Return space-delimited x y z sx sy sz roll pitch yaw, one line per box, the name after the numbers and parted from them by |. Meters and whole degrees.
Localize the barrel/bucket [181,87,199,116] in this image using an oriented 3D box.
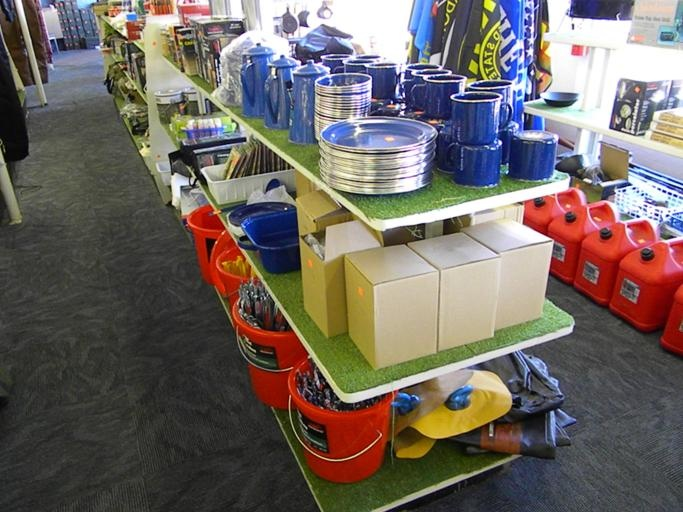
-1.394 -1.459 4.744 0.248 0.254 0.234 3 30 -2 | barrel/bucket

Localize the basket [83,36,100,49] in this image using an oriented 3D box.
-7.361 -6.269 14.747 0.485 0.453 0.230 -12 50 -20 | basket

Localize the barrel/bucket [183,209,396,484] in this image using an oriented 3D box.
-0.246 0.479 2.412 0.474 0.359 1.461 -18 44 -19 | barrel/bucket
